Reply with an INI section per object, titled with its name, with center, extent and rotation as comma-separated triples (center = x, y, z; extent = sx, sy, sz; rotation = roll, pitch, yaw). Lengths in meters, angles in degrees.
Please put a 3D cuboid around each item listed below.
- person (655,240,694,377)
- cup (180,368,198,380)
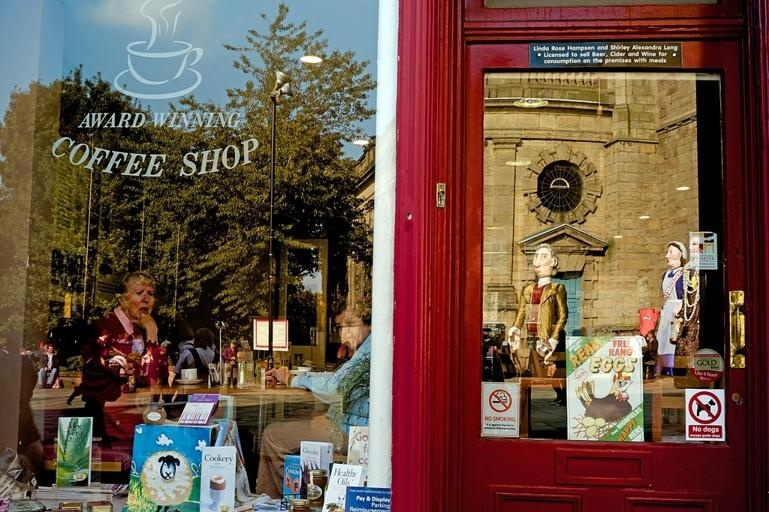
[person]
center = 1.669, 0.306, 5.457
extent = 0.135, 0.740, 0.287
rotation = 1, 13, 39
[cup]
center = -1.841, 1.108, 8.802
extent = 0.103, 0.079, 0.104
rotation = 1, -6, 0
